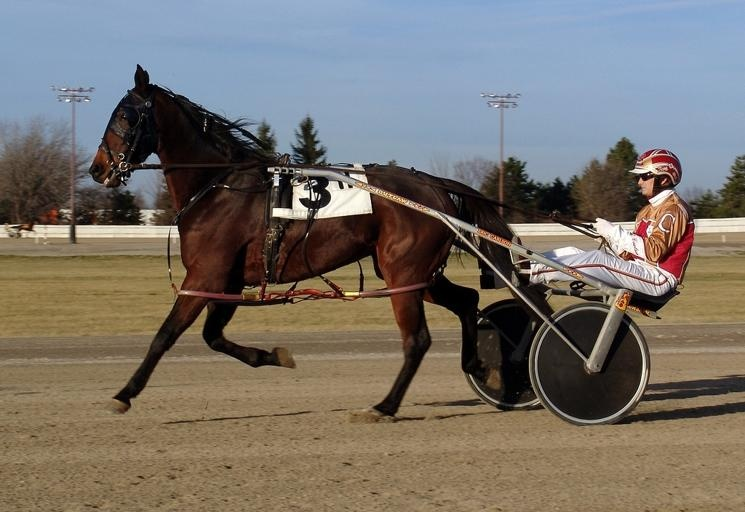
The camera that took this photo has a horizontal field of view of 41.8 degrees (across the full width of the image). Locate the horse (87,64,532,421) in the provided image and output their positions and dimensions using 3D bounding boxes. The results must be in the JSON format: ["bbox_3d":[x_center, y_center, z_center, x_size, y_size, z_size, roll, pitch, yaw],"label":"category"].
[{"bbox_3d":[-0.222,-0.123,7.929,5.216,2.243,1.176,8,18,31],"label":"horse"}]

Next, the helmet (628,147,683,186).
[{"bbox_3d":[2.254,-0.734,7.826,0.499,0.228,0.275,-7,25,-17],"label":"helmet"}]

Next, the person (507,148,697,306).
[{"bbox_3d":[2.134,-0.244,8.250,0.987,1.041,1.999,-15,7,-42],"label":"person"}]
